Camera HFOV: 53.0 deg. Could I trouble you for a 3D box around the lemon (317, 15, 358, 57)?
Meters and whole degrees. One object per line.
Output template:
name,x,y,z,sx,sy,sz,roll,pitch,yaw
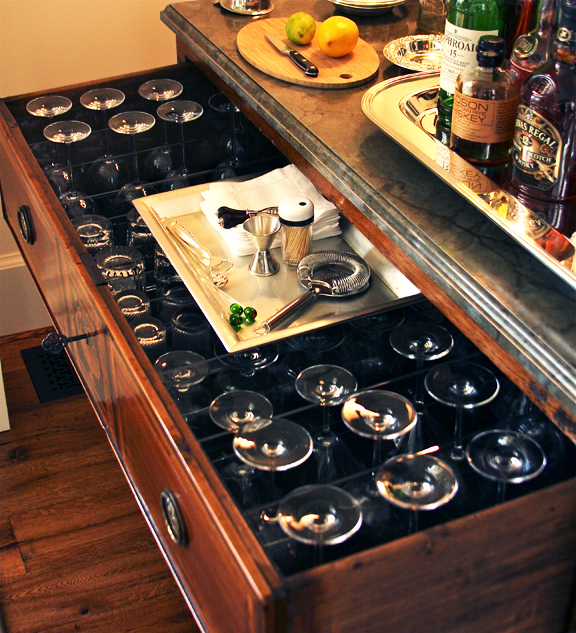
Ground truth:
lemon,0.085,-0.477,0.983,0.067,0.058,0.080,-11,18,17

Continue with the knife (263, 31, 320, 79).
knife,0.009,-0.458,1.016,0.040,0.018,0.220,-24,38,-16
